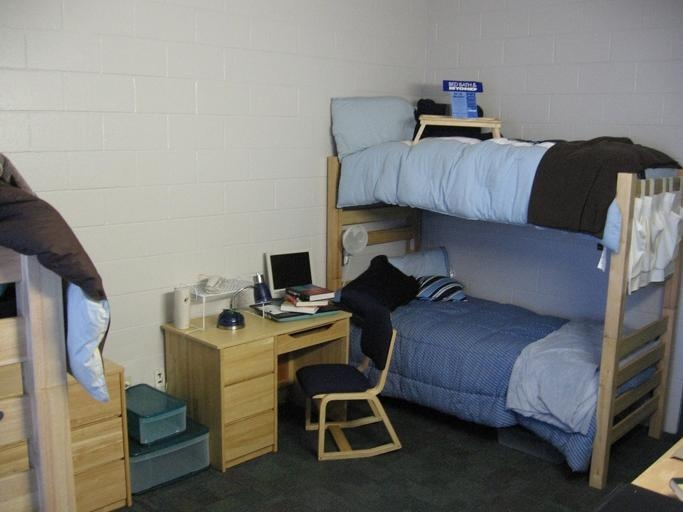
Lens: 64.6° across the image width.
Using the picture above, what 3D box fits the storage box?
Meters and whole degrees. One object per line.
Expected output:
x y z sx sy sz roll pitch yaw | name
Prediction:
-1.043 1.082 3.273 0.540 0.375 0.528 -10 17 -41 | storage box

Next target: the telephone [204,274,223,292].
-0.833 0.178 3.499 0.090 0.040 0.134 -1 9 0 | telephone

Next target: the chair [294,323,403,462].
0.034 0.906 3.863 0.806 1.028 0.754 0 8 -18 | chair

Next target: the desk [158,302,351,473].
-0.549 0.835 3.744 0.756 0.791 1.206 5 7 33 | desk

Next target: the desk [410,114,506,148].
0.842 -0.932 3.998 0.614 0.207 0.441 2 14 6 | desk

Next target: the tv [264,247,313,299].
-0.397 0.130 3.902 0.355 0.310 0.111 -9 6 -40 | tv
